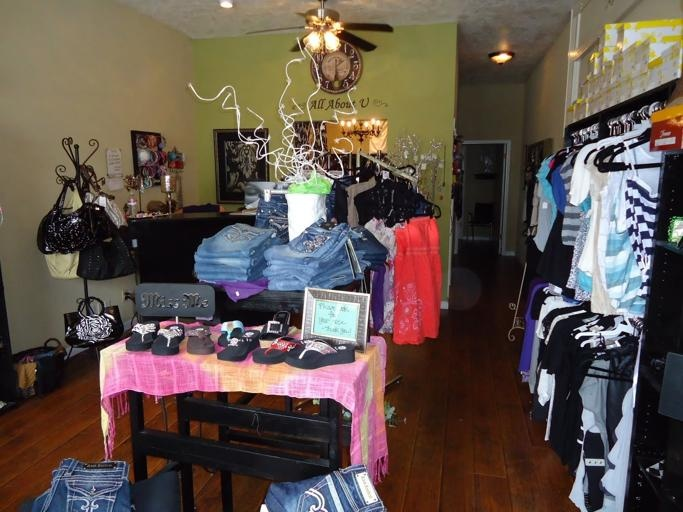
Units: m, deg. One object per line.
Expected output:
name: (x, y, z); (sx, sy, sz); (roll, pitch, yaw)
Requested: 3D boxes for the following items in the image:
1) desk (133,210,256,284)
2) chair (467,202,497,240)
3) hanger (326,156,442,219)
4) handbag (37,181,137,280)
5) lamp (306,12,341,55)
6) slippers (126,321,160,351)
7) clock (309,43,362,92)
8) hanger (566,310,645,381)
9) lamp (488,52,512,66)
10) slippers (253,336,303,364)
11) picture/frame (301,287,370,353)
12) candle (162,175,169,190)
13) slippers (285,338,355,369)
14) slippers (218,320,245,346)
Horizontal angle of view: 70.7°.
desk: (-1.319, -0.123, 4.519); (0.946, 0.660, 0.502); (0, 14, -29)
chair: (3.389, -0.851, 11.597); (0.631, 0.945, 0.720); (4, 15, 15)
hanger: (0.396, -0.566, 4.504); (0.925, 0.553, 0.256); (0, 14, -2)
handbag: (-2.221, -0.201, 4.184); (0.734, 0.907, 0.427); (5, 16, -2)
lamp: (-0.148, -1.779, 3.882); (0.300, 0.224, 0.391); (0, 14, 0)
slippers: (-0.926, 0.368, 2.283); (0.072, 0.064, 0.190); (4, 14, -5)
clock: (-0.071, -2.256, 6.046); (0.591, 0.637, 0.614); (4, 10, 7)
hanger: (1.444, 0.499, 2.731); (0.368, 0.295, 0.123); (-1, -8, 15)
lamp: (2.169, -2.754, 6.642); (0.316, 0.085, 0.346); (1, 4, 39)
slippers: (-0.282, 0.402, 2.143); (0.086, 0.058, 0.218); (12, 12, 31)
picture/frame: (-0.027, 0.296, 2.193); (0.257, 0.233, 0.029); (4, 3, 18)
candle: (-1.665, -0.698, 4.625); (0.077, 0.145, 0.076); (-4, 15, -16)
slippers: (-0.088, 0.414, 2.120); (0.220, 0.077, 0.127); (0, 4, -11)
slippers: (-0.512, 0.344, 2.277); (0.073, 0.051, 0.149); (7, 32, 11)
